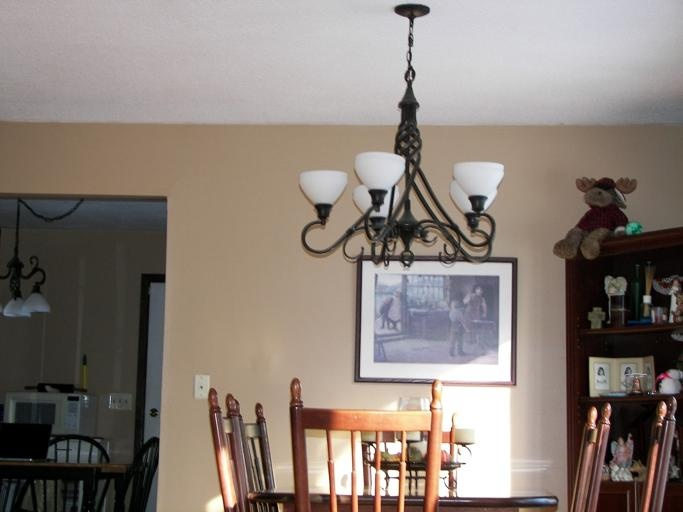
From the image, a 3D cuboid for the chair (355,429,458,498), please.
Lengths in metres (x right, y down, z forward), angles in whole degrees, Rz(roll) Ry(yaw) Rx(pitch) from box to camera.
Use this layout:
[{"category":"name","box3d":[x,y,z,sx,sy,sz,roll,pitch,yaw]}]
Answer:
[{"category":"chair","box3d":[0.297,1.017,3.873,0.454,0.465,0.486,-7,-14,32]}]

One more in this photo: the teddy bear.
[{"category":"teddy bear","box3d":[1.517,-0.243,4.709,0.390,0.580,0.368,12,-7,-19]}]

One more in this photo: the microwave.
[{"category":"microwave","box3d":[-2.380,1.323,6.332,0.635,0.395,0.429,5,-9,-25]}]
